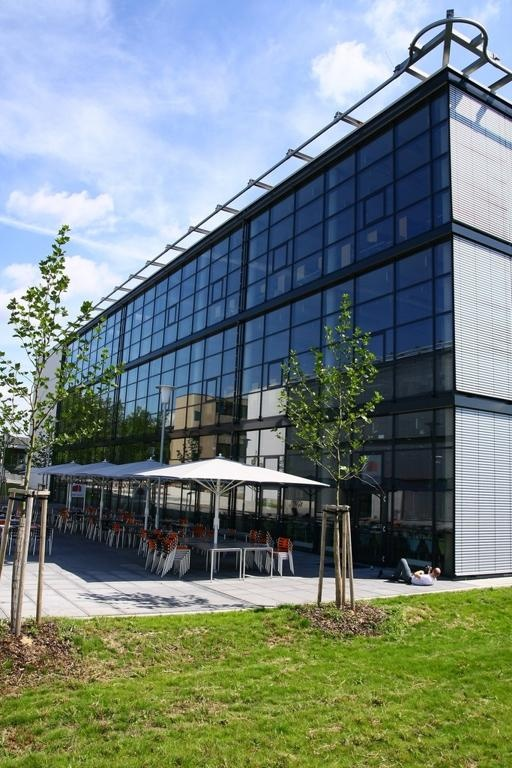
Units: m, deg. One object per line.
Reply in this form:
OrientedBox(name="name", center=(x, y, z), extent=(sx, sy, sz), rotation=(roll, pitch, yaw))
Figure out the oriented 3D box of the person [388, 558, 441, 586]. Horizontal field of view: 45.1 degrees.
OrientedBox(name="person", center=(3.860, 4.498, 14.921), extent=(1.210, 0.486, 2.299), rotation=(0, -9, 17))
